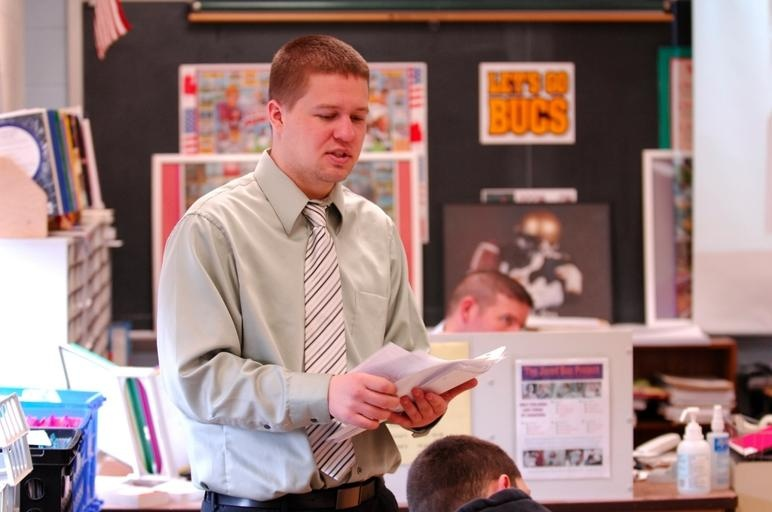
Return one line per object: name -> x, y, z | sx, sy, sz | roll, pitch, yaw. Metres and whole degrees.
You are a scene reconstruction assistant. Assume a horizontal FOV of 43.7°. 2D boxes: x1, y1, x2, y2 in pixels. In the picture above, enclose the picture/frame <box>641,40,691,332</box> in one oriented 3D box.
picture/frame -> 1.396, -0.357, 4.767 | 0.241, 1.365, 0.045 | 0, 0, -6
